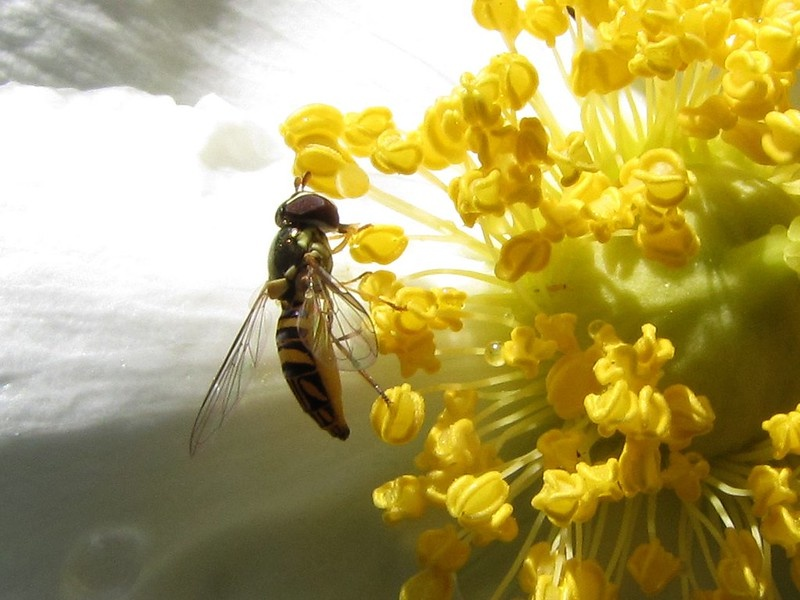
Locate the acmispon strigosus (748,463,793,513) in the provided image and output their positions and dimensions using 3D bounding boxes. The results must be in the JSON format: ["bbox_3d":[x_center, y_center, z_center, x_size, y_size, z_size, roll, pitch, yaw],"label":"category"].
[{"bbox_3d":[0.666,0.336,1.342,0.077,0.084,0.031,12,1,-22],"label":"acmispon strigosus"}]

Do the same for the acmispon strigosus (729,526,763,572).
[{"bbox_3d":[0.634,0.454,1.350,0.017,0.074,0.044,13,-52,-49],"label":"acmispon strigosus"}]

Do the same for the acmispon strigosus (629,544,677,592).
[{"bbox_3d":[0.473,0.497,1.374,0.082,0.092,0.031,1,-5,8],"label":"acmispon strigosus"}]

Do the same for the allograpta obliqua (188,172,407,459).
[{"bbox_3d":[-0.203,0.039,1.493,0.373,0.557,0.172,-13,-22,32],"label":"allograpta obliqua"}]

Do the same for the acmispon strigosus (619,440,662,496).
[{"bbox_3d":[0.448,0.298,1.327,0.119,0.102,0.052,4,-3,-42],"label":"acmispon strigosus"}]

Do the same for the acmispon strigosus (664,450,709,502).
[{"bbox_3d":[0.539,0.325,1.396,0.081,0.110,0.037,-24,24,-17],"label":"acmispon strigosus"}]
